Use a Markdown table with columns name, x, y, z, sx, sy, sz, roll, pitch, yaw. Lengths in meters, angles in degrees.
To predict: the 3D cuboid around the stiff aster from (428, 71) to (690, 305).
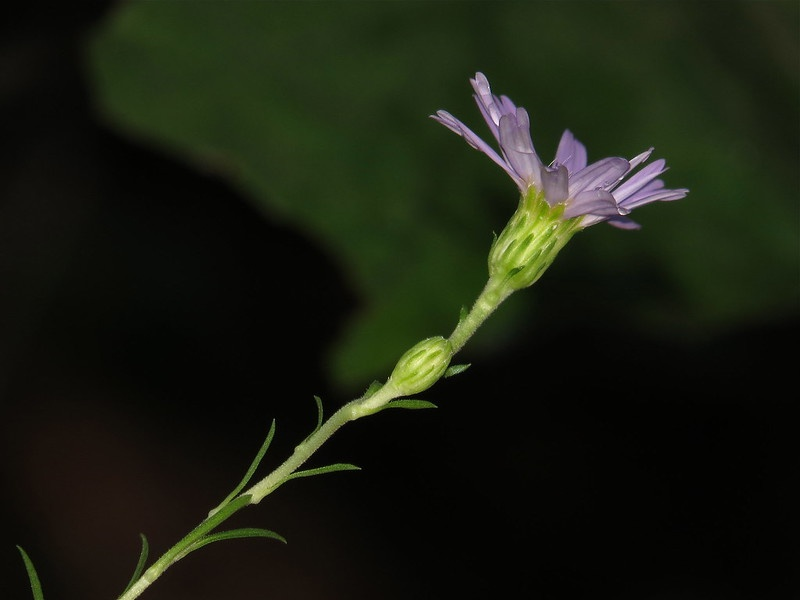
| name | x | y | z | sx | sy | sz | roll | pitch | yaw |
| --- | --- | --- | --- | --- | --- | --- | --- | --- | --- |
| stiff aster | 0.518 | -0.337 | 2.516 | 0.687 | 0.474 | 0.710 | 28 | -3 | 20 |

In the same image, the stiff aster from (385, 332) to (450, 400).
| name | x | y | z | sx | sy | sz | roll | pitch | yaw |
| --- | --- | --- | --- | --- | --- | --- | --- | --- | --- |
| stiff aster | 0.065 | 0.199 | 2.259 | 0.148 | 0.159 | 0.187 | 32 | -49 | -23 |
